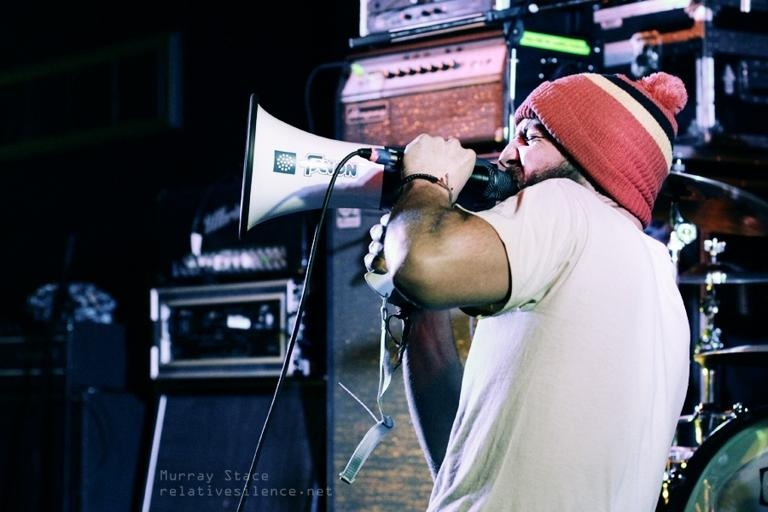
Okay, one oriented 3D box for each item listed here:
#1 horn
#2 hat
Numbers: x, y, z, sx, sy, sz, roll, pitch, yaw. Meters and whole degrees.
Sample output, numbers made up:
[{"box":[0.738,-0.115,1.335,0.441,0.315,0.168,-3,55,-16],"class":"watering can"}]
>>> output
[{"box":[-0.088,-0.375,6.421,1.198,0.906,0.890,2,-1,-1],"class":"horn"},{"box":[1.031,-0.552,6.240,0.845,0.772,0.725,5,0,22],"class":"hat"}]
